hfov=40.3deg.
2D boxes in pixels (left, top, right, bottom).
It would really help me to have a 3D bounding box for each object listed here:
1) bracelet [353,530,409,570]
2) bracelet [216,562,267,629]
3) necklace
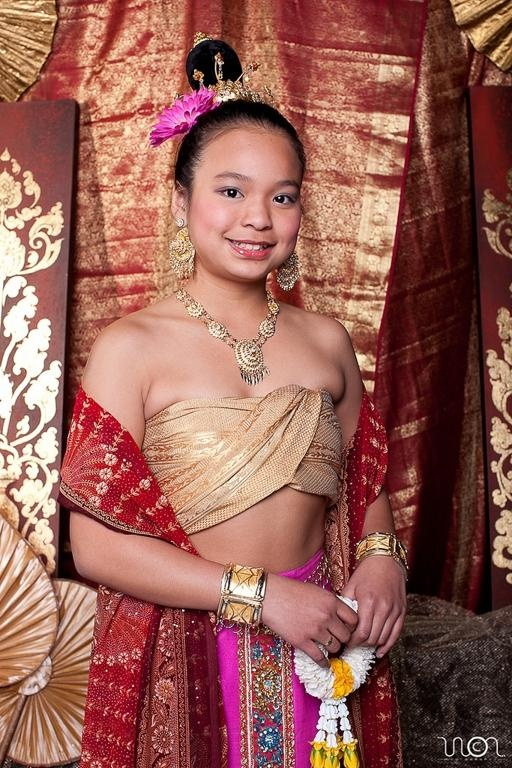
[{"bbox_3d":[0.199,0.263,1.125,0.065,0.066,0.068,0,4,-1],"label":"bracelet"},{"bbox_3d":[-0.015,0.284,0.931,0.060,0.073,0.077,6,23,6],"label":"bracelet"},{"bbox_3d":[-0.025,-0.098,1.146,0.185,0.068,0.185,-19,54,-42],"label":"necklace"}]
